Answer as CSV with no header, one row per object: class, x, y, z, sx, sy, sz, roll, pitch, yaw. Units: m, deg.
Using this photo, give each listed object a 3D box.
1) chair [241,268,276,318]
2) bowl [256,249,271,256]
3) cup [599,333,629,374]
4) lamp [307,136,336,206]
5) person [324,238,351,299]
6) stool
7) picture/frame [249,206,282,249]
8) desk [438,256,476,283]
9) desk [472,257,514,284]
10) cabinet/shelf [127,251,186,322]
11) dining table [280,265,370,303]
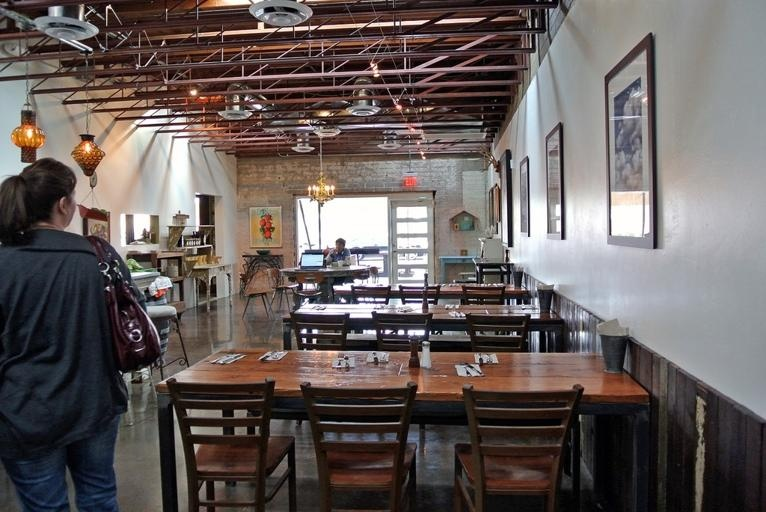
chair,-3.290,0.867,15.357,0.888,1.413,0.918,5,5,14
bowl,-3.055,-0.119,15.380,0.363,0.153,0.364,0,0,0
cup,1.484,0.616,3.892,0.222,0.241,0.216,3,2,0
lamp,-1.373,-1.895,13.407,0.461,1.598,0.444,1,-18,-12
person,-0.833,0.237,11.364,0.544,1.067,0.591,-5,3,-15
stool,-2.513,1.005,7.121,0.439,0.665,0.458,15,-4,11
picture/frame,-3.000,-0.762,15.525,1.086,1.277,0.096,0,3,11
desk,1.766,0.289,14.537,0.845,0.622,0.810,0,0,4
desk,1.871,0.259,10.097,0.552,0.399,1.412,0,0,12
cabinet/shelf,-2.875,0.381,8.063,0.464,0.793,0.388,0,-8,-38
dining table,-1.042,0.513,10.842,1.430,0.538,1.471,-2,-1,37
